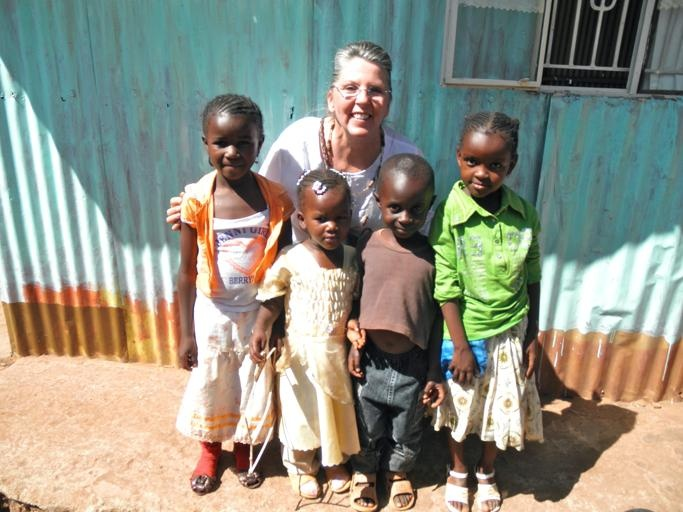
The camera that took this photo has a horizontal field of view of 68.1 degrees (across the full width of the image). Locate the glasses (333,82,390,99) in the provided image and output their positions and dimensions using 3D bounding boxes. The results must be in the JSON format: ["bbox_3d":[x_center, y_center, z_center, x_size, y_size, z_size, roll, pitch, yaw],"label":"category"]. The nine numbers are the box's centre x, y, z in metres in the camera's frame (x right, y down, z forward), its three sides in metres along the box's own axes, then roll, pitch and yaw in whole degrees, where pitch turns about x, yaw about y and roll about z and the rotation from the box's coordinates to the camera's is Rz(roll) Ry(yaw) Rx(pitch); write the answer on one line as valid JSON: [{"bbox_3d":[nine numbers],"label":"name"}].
[{"bbox_3d":[0.125,-1.031,3.200,0.347,0.080,0.122,1,20,-1],"label":"glasses"}]

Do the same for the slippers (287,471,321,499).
[{"bbox_3d":[-0.230,1.520,3.340,0.105,0.094,0.213,-3,3,-33],"label":"slippers"}]

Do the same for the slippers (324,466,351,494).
[{"bbox_3d":[-0.016,1.492,3.366,0.087,0.100,0.240,-1,-12,-8],"label":"slippers"}]
